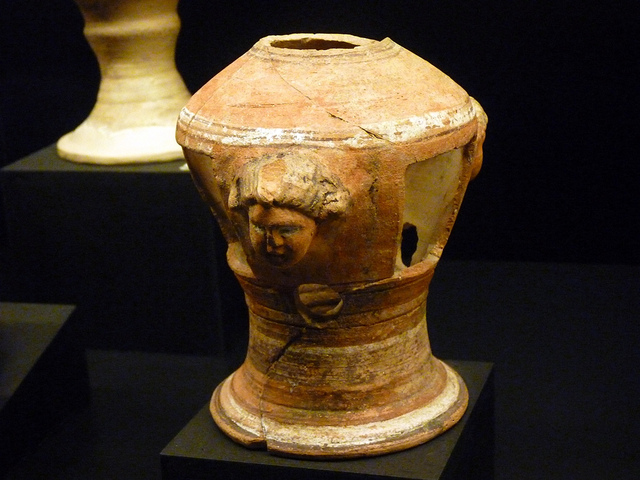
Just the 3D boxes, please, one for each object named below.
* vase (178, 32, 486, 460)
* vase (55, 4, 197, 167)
[{"bbox_3d":[0.080,0.023,2.659,0.955,1.163,0.715,-7,31,-9],"label":"vase"},{"bbox_3d":[-0.759,-0.773,4.337,0.893,0.968,0.872,0,19,-5],"label":"vase"}]
